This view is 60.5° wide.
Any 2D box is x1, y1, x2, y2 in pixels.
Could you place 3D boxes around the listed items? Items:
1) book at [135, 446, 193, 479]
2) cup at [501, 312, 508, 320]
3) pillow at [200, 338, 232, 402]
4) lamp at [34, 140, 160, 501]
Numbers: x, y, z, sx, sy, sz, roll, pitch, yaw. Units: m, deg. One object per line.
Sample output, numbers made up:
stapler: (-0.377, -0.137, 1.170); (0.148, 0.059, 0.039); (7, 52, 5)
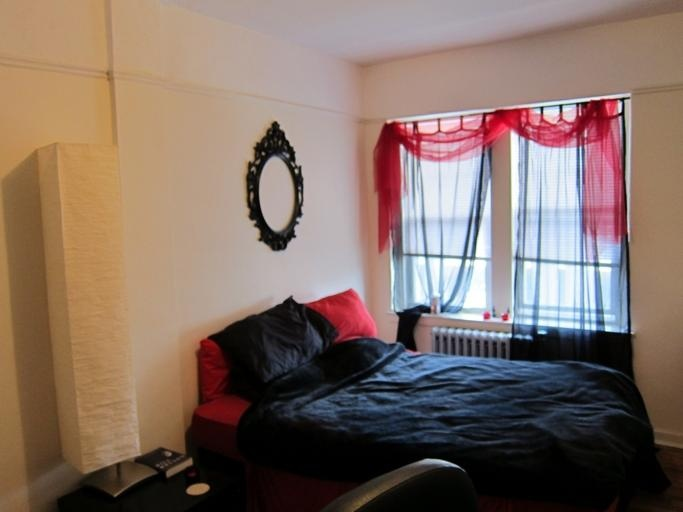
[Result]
book: (-1.025, 1.182, 3.345); (0.262, 0.056, 0.192); (3, 7, 31)
cup: (1.370, 0.506, 4.909); (0.050, 0.042, 0.045); (1, -5, 0)
pillow: (-0.854, 0.733, 3.846); (0.103, 0.369, 0.289); (4, -4, 41)
lamp: (-1.295, 0.252, 3.007); (0.378, 1.630, 0.425); (-6, 14, -28)
